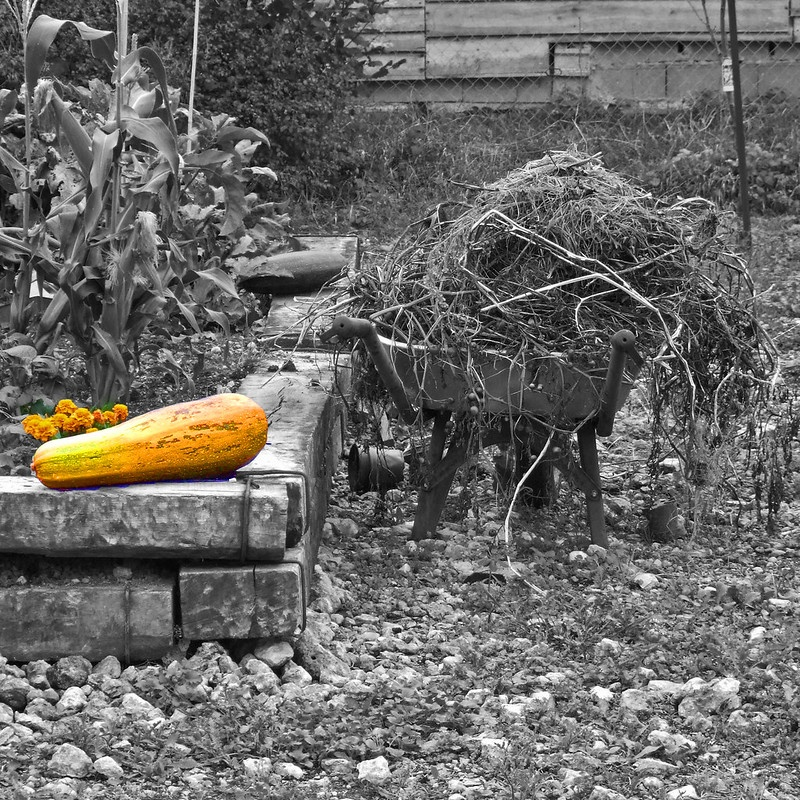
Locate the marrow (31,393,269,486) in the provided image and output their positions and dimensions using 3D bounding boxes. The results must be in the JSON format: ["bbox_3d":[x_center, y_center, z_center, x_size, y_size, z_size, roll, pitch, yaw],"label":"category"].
[{"bbox_3d":[-0.661,0.075,4.241,0.574,0.216,0.243,-10,4,-12],"label":"marrow"}]
